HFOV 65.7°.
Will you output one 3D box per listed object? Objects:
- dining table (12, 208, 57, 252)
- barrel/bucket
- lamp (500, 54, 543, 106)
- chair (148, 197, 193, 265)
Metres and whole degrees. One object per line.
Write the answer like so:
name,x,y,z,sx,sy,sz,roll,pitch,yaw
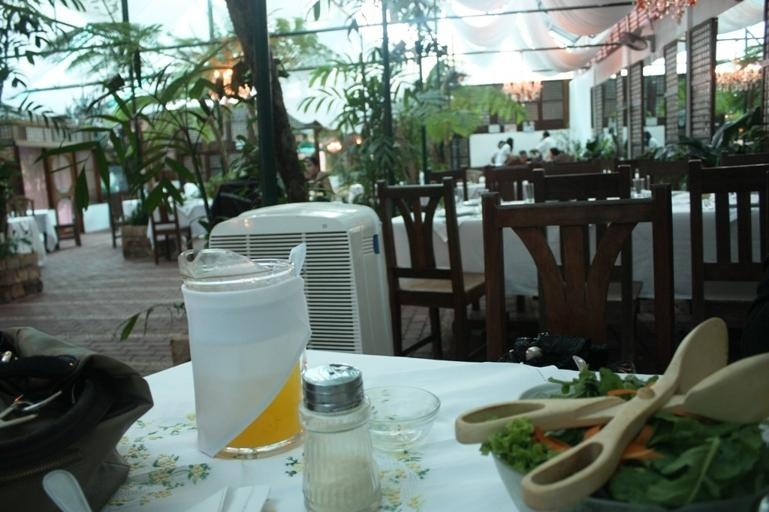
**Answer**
dining table,-5.258,-0.383,9.315,0.633,0.515,0.614,-14,15,-39
barrel/bucket,-0.210,0.148,0.925,0.193,0.319,0.176,-3,7,0
lamp,4.011,-4.789,16.632,1.156,1.581,1.163,-12,29,-13
chair,-2.737,-0.352,7.411,0.463,0.641,0.474,-9,-2,19
